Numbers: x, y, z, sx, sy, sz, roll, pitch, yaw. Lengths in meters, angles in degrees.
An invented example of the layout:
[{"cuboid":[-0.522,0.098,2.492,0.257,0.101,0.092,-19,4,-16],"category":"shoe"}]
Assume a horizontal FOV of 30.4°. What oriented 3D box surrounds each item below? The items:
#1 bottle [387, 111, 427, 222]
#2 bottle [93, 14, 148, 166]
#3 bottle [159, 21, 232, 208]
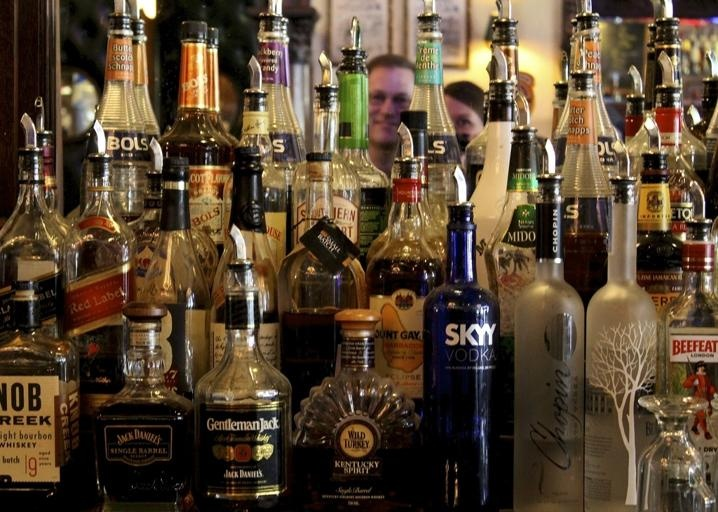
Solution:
[{"cuboid":[0.081,-0.159,2.209,0.044,0.164,0.048,3,31,-2],"category":"bottle"},{"cuboid":[-0.410,-0.285,2.270,0.085,0.259,0.056,-1,2,-12],"category":"bottle"},{"cuboid":[-0.288,-0.220,2.282,0.123,0.356,0.128,1,7,0],"category":"bottle"}]
